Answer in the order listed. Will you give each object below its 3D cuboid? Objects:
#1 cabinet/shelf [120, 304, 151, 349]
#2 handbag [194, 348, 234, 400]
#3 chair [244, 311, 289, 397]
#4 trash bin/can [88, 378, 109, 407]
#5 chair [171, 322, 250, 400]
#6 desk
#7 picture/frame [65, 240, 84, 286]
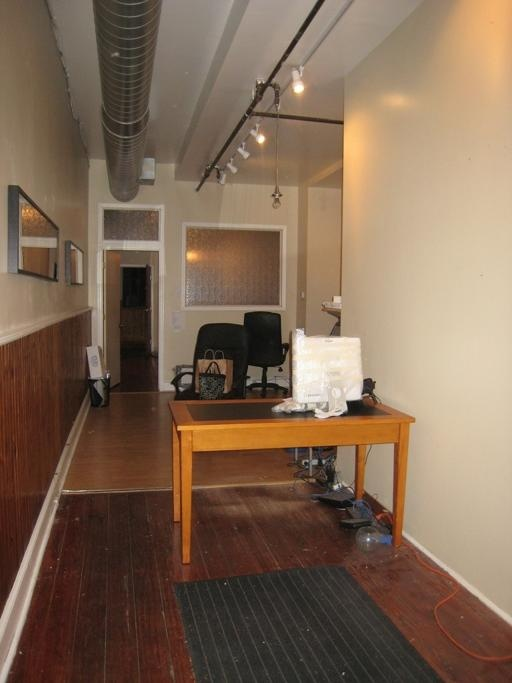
[{"bbox_3d":[-3.027,-0.349,12.703,0.915,1.479,0.710,0,4,-10],"label":"cabinet/shelf"},{"bbox_3d":[-0.423,0.323,5.060,0.387,0.468,0.257,1,2,-8],"label":"handbag"},{"bbox_3d":[0.143,0.187,7.103,0.605,1.203,0.904,1,2,4],"label":"chair"},{"bbox_3d":[-1.949,0.625,6.392,0.290,0.392,0.304,1,3,-11],"label":"trash bin/can"},{"bbox_3d":[-0.399,0.232,5.337,0.690,0.959,0.732,0,-2,8],"label":"chair"},{"bbox_3d":[0.171,0.700,2.773,1.270,0.729,0.661,1,2,-11],"label":"desk"},{"bbox_3d":[-1.901,-0.809,5.281,0.053,0.434,0.709,7,5,-24],"label":"picture/frame"}]
